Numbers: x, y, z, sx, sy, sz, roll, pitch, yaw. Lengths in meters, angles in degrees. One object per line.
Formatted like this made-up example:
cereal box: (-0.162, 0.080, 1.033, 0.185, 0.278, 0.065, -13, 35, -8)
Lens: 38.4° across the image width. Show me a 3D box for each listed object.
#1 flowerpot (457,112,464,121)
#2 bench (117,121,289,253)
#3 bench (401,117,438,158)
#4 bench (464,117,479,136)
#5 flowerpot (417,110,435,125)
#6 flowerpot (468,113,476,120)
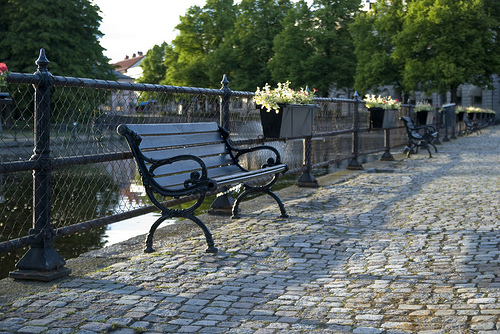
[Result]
flowerpot: (10.696, -2.497, 36.575, 0.503, 0.447, 0.448, -1, -4, -10)
bench: (-0.533, 0.180, 10.418, 1.508, 1.721, 2.758, -3, 4, 15)
bench: (4.995, -0.839, 21.413, 0.687, 0.729, 1.560, -2, 3, 22)
bench: (11.491, -2.027, 37.485, 0.641, 0.740, 1.621, 0, 4, 28)
flowerpot: (5.959, -1.620, 24.533, 0.617, 0.392, 0.560, 0, 0, -17)
flowerpot: (13.628, -3.049, 44.193, 0.626, 0.393, 0.588, -1, -5, 11)
